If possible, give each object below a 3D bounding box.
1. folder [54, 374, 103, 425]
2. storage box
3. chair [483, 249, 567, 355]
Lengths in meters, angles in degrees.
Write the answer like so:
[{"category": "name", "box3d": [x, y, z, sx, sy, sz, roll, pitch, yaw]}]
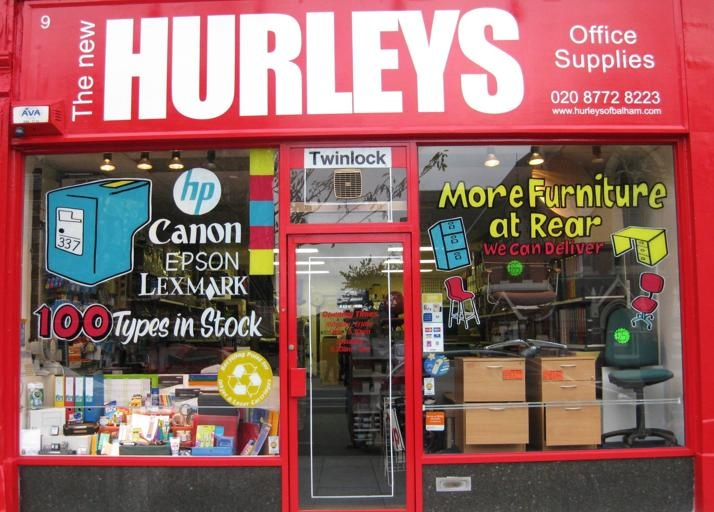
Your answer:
[{"category": "folder", "box3d": [-2.833, 1.453, 8.507, 0.482, 0.452, 0.029, 0, -6, 0]}, {"category": "storage box", "box3d": [1.716, 1.485, 8.425, 1.432, 0.958, 1.044, 1, 0, -3]}, {"category": "chair", "box3d": [1.698, 0.467, 8.524, 0.919, 1.128, 0.934, 0, -13, 4]}]
